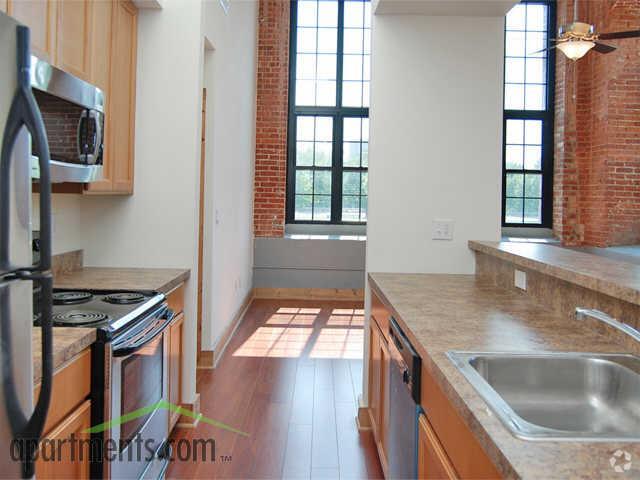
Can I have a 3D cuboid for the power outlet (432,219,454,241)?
[{"bbox_3d":[0.750,-0.066,3.091,0.114,0.123,0.015,0,5,4],"label":"power outlet"}]
